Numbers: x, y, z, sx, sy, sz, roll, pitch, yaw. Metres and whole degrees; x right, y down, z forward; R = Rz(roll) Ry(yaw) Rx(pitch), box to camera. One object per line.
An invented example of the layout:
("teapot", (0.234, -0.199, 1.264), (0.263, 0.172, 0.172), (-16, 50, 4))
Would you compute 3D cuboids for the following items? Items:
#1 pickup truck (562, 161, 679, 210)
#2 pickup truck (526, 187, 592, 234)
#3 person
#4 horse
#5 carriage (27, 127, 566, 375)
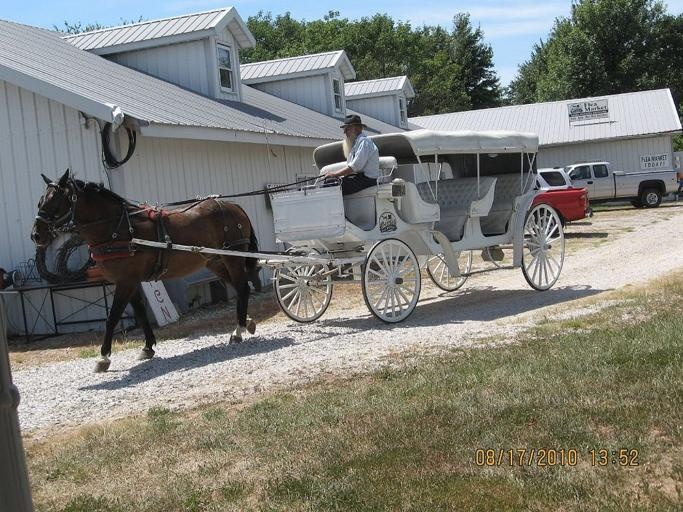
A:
("pickup truck", (10.704, -2.660, 28.772), (4.725, 1.917, 2.179), (0, 0, -6))
("pickup truck", (6.262, -1.488, 21.139), (2.573, 1.220, 1.563), (-1, -2, -32))
("person", (0.185, -1.437, 11.504), (0.714, 1.404, 0.689), (4, 13, 21))
("horse", (-2.686, 0.250, 11.276), (3.426, 2.926, 1.065), (-4, 4, -32))
("carriage", (-0.086, -0.321, 12.403), (9.072, 3.456, 2.841), (-8, 3, -31))
